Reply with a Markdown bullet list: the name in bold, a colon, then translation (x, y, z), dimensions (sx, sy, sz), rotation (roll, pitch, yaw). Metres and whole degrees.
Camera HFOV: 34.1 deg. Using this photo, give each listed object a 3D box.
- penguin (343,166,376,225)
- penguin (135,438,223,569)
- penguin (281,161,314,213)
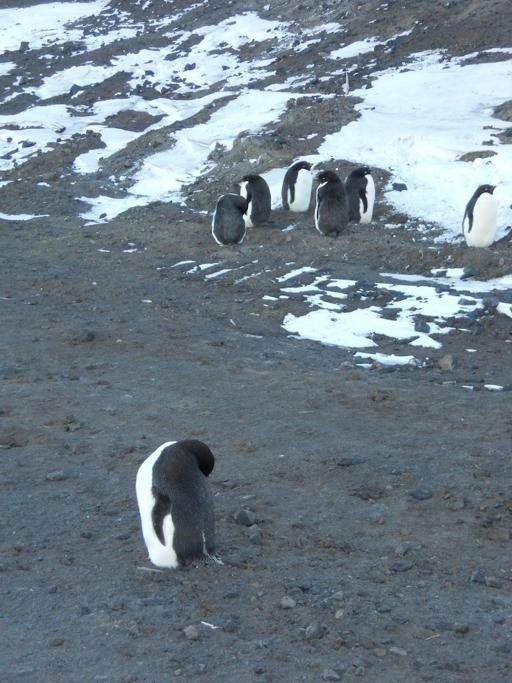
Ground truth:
- **penguin**: translation (1.743, -2.438, 14.029), dimensions (0.484, 0.950, 0.539), rotation (-2, 11, 5)
- **penguin**: translation (-0.481, 1.010, 5.112), dimensions (0.485, 0.757, 0.389), rotation (-4, 11, -6)
- **penguin**: translation (0.738, -2.766, 15.137), dimensions (0.508, 0.897, 0.718), rotation (-2, 10, 0)
